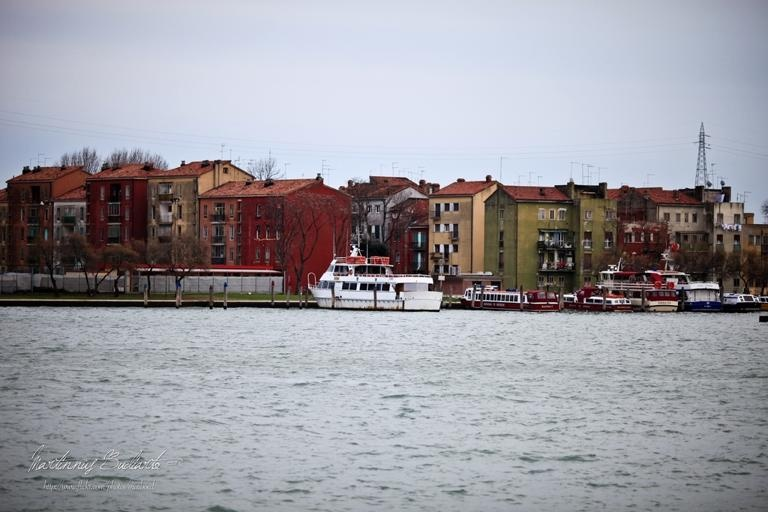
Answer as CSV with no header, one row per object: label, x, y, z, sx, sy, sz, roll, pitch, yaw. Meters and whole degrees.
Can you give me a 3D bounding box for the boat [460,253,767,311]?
boat,24.858,3.169,153.345,29.890,6.955,5.669,0,13,-7
